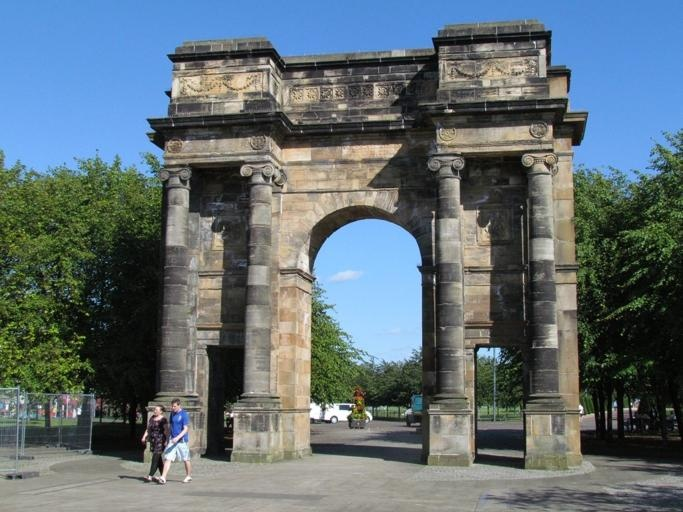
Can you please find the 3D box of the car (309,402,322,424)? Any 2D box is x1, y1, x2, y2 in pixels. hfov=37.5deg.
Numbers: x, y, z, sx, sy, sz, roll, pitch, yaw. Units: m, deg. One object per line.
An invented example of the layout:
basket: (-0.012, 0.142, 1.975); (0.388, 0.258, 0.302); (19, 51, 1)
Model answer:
car: (-2.190, 13.863, 88.855); (0.892, 1.470, 4.769); (0, -13, -1)

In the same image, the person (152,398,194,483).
person: (-5.461, 6.111, 33.254); (1.048, 2.776, 1.351); (3, -15, -10)
